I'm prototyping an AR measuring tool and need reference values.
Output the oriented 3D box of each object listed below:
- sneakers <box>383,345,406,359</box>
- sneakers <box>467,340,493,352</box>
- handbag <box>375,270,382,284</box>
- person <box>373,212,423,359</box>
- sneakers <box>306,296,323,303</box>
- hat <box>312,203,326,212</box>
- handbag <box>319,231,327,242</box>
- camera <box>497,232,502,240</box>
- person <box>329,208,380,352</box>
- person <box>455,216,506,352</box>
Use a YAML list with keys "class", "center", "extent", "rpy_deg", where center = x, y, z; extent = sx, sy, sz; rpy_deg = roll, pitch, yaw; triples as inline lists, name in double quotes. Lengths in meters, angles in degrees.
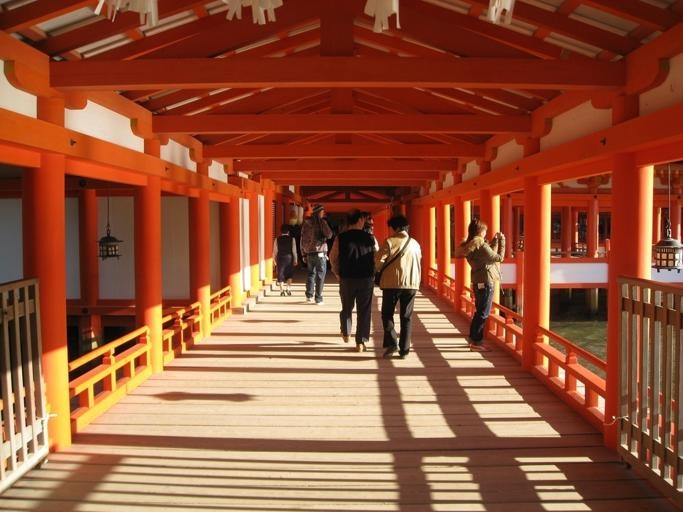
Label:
- class: "sneakers"
  center: [0.624, 1.100, 6.923]
  extent: [0.281, 0.124, 0.108]
  rpy_deg: [2, -1, 13]
- class: "sneakers"
  center: [1.657, 1.076, 7.259]
  extent: [0.282, 0.125, 0.106]
  rpy_deg: [0, 0, 7]
- class: "handbag"
  center: [0.416, 0.228, 6.579]
  extent: [0.108, 0.116, 0.118]
  rpy_deg: [-3, -7, 21]
- class: "person"
  center: [0.637, 0.367, 6.731]
  extent: [0.463, 1.633, 0.549]
  rpy_deg: [1, 8, 8]
- class: "sneakers"
  center: [-0.475, 0.767, 10.672]
  extent: [0.331, 0.156, 0.116]
  rpy_deg: [-1, 5, 20]
- class: "hat"
  center: [-0.380, -0.784, 10.244]
  extent: [0.177, 0.144, 0.151]
  rpy_deg: [-17, 2, 23]
- class: "handbag"
  center: [-0.295, -0.321, 10.486]
  extent: [0.107, 0.154, 0.040]
  rpy_deg: [-8, -4, -18]
- class: "camera"
  center: [1.841, -0.232, 7.068]
  extent: [0.016, 0.062, 0.060]
  rpy_deg: [2, -5, -19]
- class: "person"
  center: [0.166, 0.326, 7.008]
  extent: [0.500, 1.650, 0.563]
  rpy_deg: [1, 8, 8]
- class: "person"
  center: [1.644, 0.351, 7.065]
  extent: [0.519, 1.547, 0.471]
  rpy_deg: [-6, 10, -34]
